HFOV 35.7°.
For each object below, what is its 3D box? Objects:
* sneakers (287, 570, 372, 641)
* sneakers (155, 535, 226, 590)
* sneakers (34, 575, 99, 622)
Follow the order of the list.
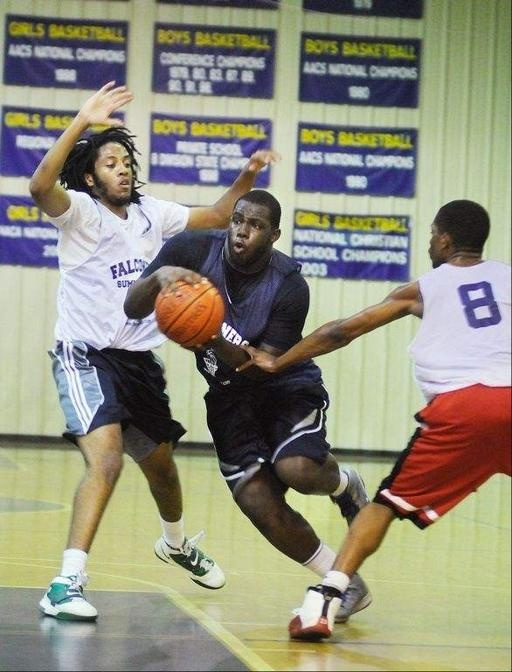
[{"bbox_3d":[0.242,0.823,2.466,0.163,0.145,0.392,2,-1,3],"label":"sneakers"},{"bbox_3d":[-0.264,0.897,3.114,0.312,0.104,0.135,32,-26,1],"label":"sneakers"},{"bbox_3d":[-0.549,0.768,2.317,0.088,0.096,0.239,16,-16,-38],"label":"sneakers"}]
